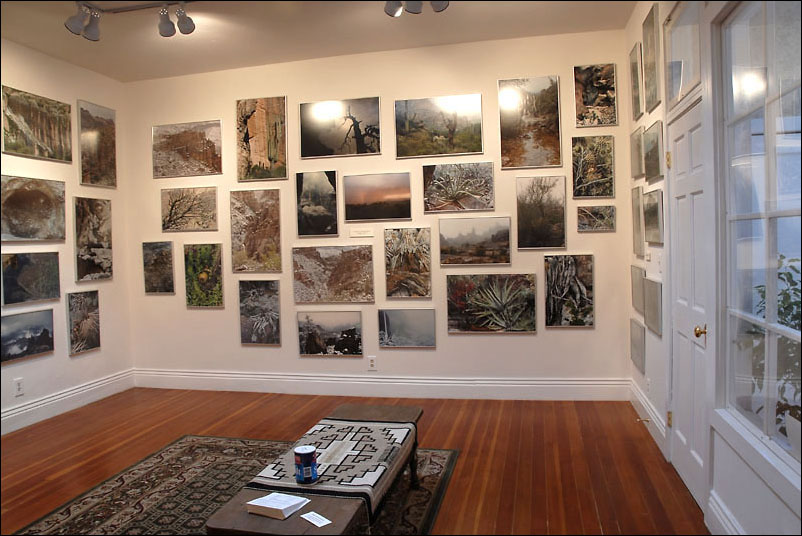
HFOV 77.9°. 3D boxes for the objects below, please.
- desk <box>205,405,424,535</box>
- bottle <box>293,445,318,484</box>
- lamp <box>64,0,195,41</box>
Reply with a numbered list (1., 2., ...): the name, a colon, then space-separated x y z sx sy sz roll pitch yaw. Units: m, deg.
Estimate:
1. desk: -0.558 1.615 3.960 1.041 0.479 1.646 -3 4 20
2. bottle: -0.675 1.457 3.709 0.241 0.236 0.230 -1 2 -5
3. lamp: -2.751 -2.548 5.035 1.216 0.253 0.660 -4 3 -13
